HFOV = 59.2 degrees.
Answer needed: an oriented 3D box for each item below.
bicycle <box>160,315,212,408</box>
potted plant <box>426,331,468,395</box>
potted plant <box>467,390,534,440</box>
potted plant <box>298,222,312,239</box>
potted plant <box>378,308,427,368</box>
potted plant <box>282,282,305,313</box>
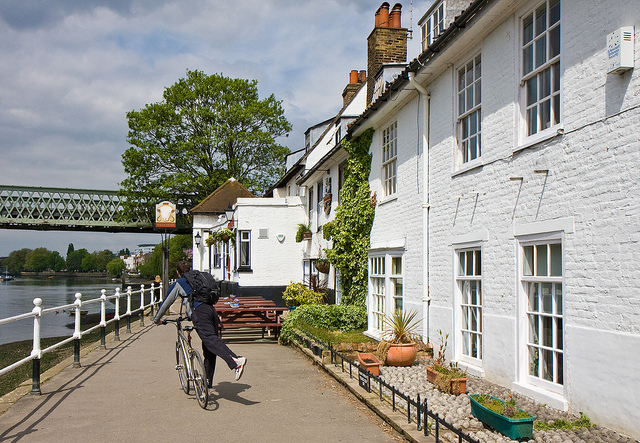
[{"bbox_3d":[-2.341,2.351,10.091,0.862,1.345,2.098,-10,2,-27],"label":"bicycle"},{"bbox_3d":[2.266,2.617,10.509,0.348,1.046,1.118,1,-2,-14],"label":"potted plant"},{"bbox_3d":[2.669,2.879,8.314,0.430,0.667,0.965,-8,-1,-24],"label":"potted plant"},{"bbox_3d":[-0.577,0.390,25.384,0.513,0.640,0.550,-3,-6,23],"label":"potted plant"},{"bbox_3d":[1.781,2.532,12.158,0.852,1.263,0.904,-4,-8,35],"label":"potted plant"},{"bbox_3d":[-1.027,3.033,22.746,0.791,1.089,0.992,1,-3,-16],"label":"potted plant"}]
